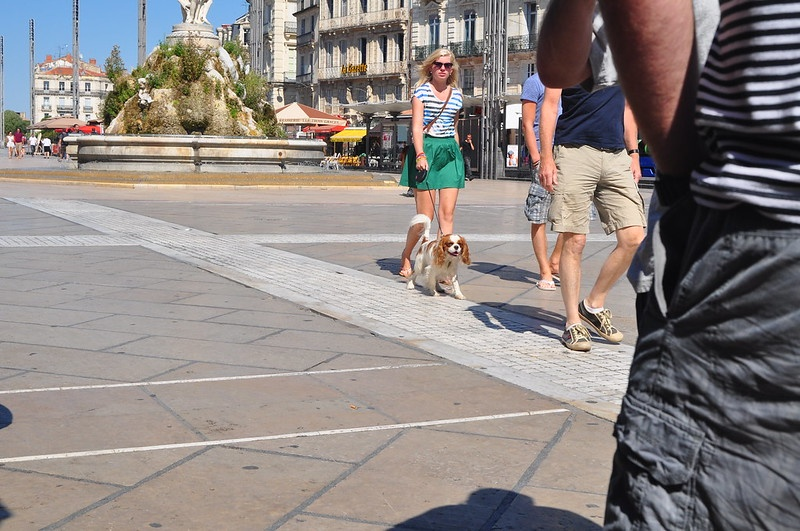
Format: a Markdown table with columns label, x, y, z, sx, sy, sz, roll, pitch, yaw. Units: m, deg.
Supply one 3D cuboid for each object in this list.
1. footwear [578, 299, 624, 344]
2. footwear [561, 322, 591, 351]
| label | x | y | z | sx | sy | sz | roll | pitch | yaw |
| --- | --- | --- | --- | --- | --- | --- | --- | --- | --- |
| footwear | 1.505 | 0.428 | 5.233 | 0.353 | 0.143 | 0.130 | 37 | 45 | 15 |
| footwear | 1.246 | 0.503 | 4.908 | 0.125 | 0.105 | 0.271 | -2 | 4 | -12 |
